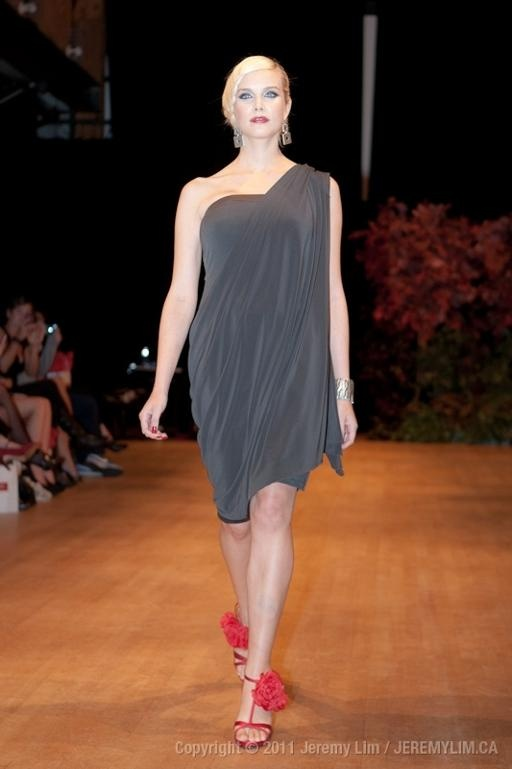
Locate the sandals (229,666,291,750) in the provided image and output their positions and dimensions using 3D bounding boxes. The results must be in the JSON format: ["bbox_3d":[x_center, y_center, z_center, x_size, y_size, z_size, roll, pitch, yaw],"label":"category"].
[{"bbox_3d":[-0.002,0.567,1.296,0.060,0.067,0.158,0,16,3],"label":"sandals"}]

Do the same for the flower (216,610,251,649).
[{"bbox_3d":[-0.045,0.541,1.615,0.065,0.029,0.069,5,5,-12],"label":"flower"}]

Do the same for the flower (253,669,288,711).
[{"bbox_3d":[0.026,0.557,1.300,0.060,0.029,0.067,13,52,8],"label":"flower"}]

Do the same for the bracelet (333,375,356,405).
[{"bbox_3d":[0.191,0.010,1.545,0.045,0.047,0.049,-2,-13,13],"label":"bracelet"}]

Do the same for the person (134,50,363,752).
[{"bbox_3d":[-0.025,0.016,1.489,0.406,1.362,0.597,1,9,22],"label":"person"}]
